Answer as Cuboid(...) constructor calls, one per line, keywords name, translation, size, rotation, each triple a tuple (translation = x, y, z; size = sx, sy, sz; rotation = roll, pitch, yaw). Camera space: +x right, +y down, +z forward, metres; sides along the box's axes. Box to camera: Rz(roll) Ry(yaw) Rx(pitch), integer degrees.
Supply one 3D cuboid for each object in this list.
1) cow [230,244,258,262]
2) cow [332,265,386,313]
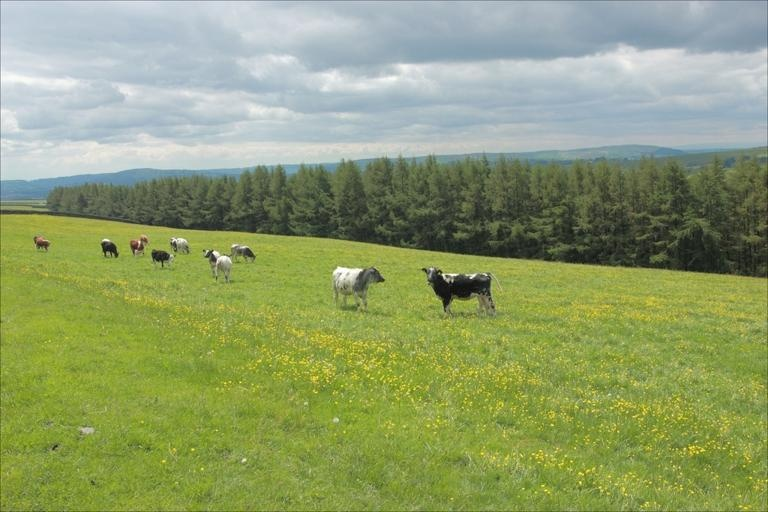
Cuboid(name="cow", translation=(-13.169, -0.276, 59.874), size=(1.769, 1.306, 4.285), rotation=(-5, 12, -31))
Cuboid(name="cow", translation=(-1.926, 2.276, 43.899), size=(1.706, 3.115, 5.199), rotation=(3, -2, -39))
